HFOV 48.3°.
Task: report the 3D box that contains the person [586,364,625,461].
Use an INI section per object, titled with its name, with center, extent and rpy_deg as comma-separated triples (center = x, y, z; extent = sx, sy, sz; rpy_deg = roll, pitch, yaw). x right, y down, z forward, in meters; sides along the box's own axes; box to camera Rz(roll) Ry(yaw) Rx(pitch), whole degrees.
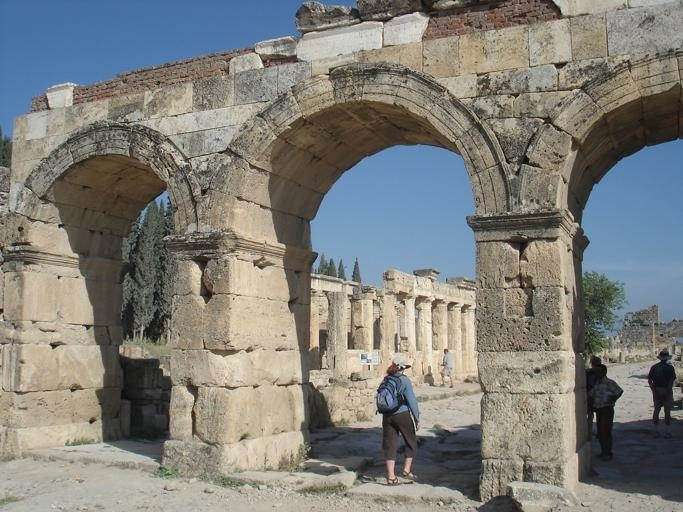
[person]
center = 3.748, 2.183, 10.803
extent = 0.440, 1.301, 0.822
rpy_deg = -5, -10, 19

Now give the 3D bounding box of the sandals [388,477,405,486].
[sandals]
center = 0.660, 2.718, 9.220
extent = 0.232, 0.084, 0.081
rpy_deg = 3, -4, -33

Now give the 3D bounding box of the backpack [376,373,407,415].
[backpack]
center = 0.643, 1.677, 9.458
extent = 0.337, 0.460, 0.461
rpy_deg = -8, -8, 41
